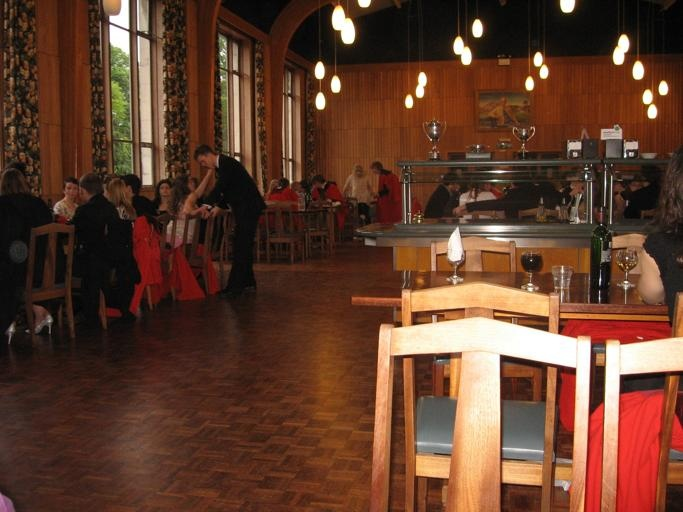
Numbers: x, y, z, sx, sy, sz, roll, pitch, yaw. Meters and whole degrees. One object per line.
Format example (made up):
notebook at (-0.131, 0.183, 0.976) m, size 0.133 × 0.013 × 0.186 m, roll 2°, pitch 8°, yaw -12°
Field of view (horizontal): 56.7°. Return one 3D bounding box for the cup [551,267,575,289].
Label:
cup at (1.174, 0.112, 3.413) m, size 0.109 × 0.133 × 0.106 m, roll -2°, pitch 11°, yaw 0°

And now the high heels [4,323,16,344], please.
high heels at (-2.724, 0.647, 5.212) m, size 0.047 × 0.181 × 0.062 m, roll -8°, pitch -35°, yaw 1°

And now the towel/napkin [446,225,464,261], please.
towel/napkin at (0.619, -0.059, 3.450) m, size 0.087 × 0.196 × 0.168 m, roll 1°, pitch 8°, yaw 8°

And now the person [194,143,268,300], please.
person at (-1.354, -0.458, 7.623) m, size 0.830 × 1.769 × 0.665 m, roll -5°, pitch 5°, yaw -12°
